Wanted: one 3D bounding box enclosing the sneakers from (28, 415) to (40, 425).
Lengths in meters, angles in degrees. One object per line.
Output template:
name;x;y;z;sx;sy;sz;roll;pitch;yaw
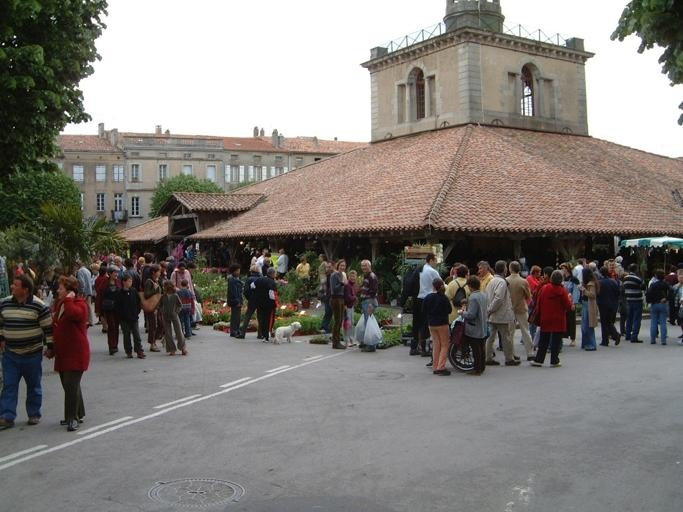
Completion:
sneakers;-4.746;2.525;10.419;0.163;0.094;0.180;-2;-1;-27

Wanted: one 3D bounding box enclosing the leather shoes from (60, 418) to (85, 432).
leather shoes;-3.993;2.504;10.058;0.185;0.106;0.249;1;-4;-12

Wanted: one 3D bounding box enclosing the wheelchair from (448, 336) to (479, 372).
wheelchair;2.522;2.042;14.182;0.496;0.708;0.793;-2;-1;8

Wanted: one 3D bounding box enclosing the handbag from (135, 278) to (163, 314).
handbag;-4.719;0.988;17.122;0.652;0.955;0.516;-1;5;-1

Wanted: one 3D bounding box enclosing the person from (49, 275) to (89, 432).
person;-4.123;1.432;10.287;0.498;1.853;0.800;-1;0;-25

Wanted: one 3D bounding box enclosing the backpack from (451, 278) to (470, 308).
backpack;2.614;0.804;14.874;0.488;0.829;0.428;2;-3;20

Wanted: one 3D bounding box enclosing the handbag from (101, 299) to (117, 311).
handbag;-5.692;1.170;16.510;0.229;0.237;0.333;-1;-2;6
